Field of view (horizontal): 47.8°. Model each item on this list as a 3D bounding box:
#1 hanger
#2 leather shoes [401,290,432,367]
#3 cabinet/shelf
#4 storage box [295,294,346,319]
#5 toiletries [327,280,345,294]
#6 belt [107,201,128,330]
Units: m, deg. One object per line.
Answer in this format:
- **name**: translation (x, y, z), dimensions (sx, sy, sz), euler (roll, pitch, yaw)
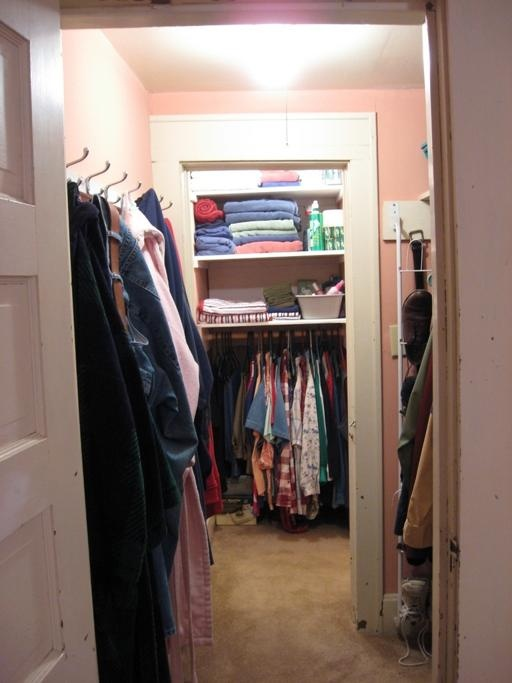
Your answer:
- **hanger**: translation (0.092, 0.021, 3.205), dimensions (0.573, 0.337, 0.433), euler (0, 8, -3)
- **leather shoes**: translation (0.548, -0.040, 1.979), dimensions (0.093, 0.265, 0.062), euler (0, 4, 18)
- **cabinet/shelf**: translation (0.065, -0.527, 3.001), dimensions (0.730, 1.054, 0.668), euler (-2, -4, 5)
- **storage box**: translation (0.318, -0.162, 2.835), dimensions (0.142, 0.100, 0.129), euler (-1, 0, 2)
- **toiletries**: translation (0.393, -0.263, 2.869), dimensions (0.083, 0.069, 0.142), euler (-1, 5, 8)
- **belt**: translation (-0.303, -0.167, 1.263), dimensions (0.033, 0.274, 0.098), euler (-2, 4, -15)
